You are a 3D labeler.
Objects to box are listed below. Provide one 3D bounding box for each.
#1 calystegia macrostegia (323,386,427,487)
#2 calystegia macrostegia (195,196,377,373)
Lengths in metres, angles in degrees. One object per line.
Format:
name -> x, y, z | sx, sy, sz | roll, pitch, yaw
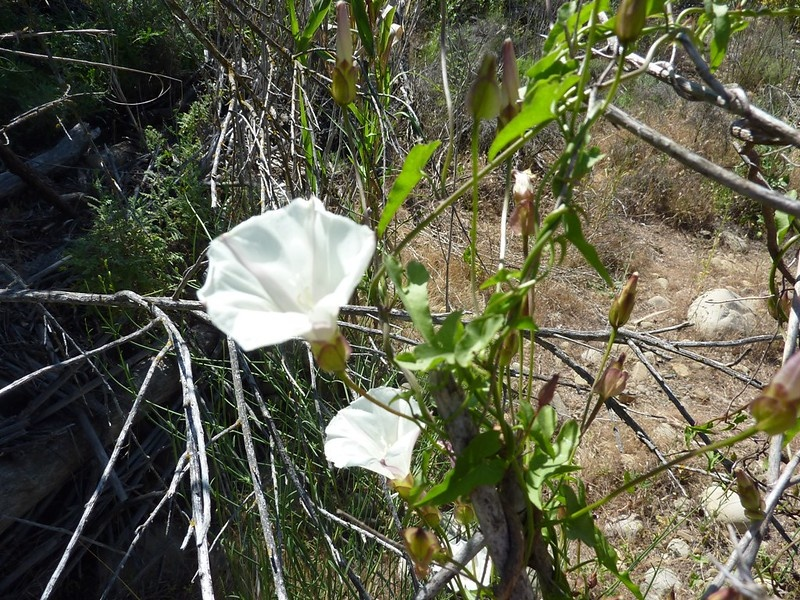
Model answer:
calystegia macrostegia -> -0.070, 0.400, 1.817 | 0.268, 0.208, 0.257 | -34, 49, -22
calystegia macrostegia -> -0.276, -0.067, 1.468 | 0.405, 0.266, 0.387 | 4, 62, -16
